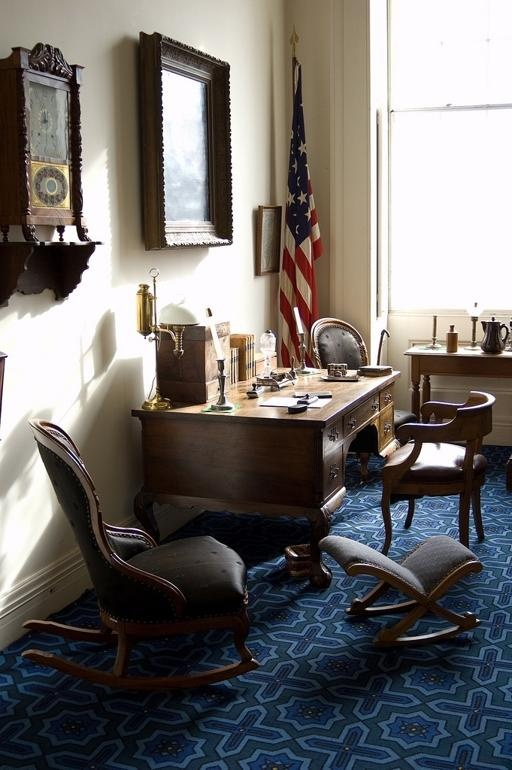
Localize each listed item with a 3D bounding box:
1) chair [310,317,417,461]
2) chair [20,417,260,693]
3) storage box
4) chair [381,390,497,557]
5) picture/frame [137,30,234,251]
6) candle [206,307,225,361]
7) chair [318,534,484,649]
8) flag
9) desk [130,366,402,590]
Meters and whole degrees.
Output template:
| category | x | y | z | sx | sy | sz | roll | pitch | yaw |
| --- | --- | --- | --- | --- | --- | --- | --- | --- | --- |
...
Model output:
| category | x | y | z | sx | sy | sz | roll | pitch | yaw |
| --- | --- | --- | --- | --- | --- | --- | --- | --- | --- |
| chair | 0.796 | -0.009 | 4.446 | 0.690 | 1.207 | 0.780 | -2 | -7 | -30 |
| chair | -0.391 | 0.564 | 2.022 | 0.675 | 0.890 | 0.496 | 0 | 8 | -19 |
| storage box | -0.339 | -0.140 | 3.334 | 0.274 | 0.444 | 0.511 | 2 | 9 | 16 |
| chair | 1.054 | 0.496 | 3.343 | 0.533 | 0.892 | 0.725 | 1 | 8 | 17 |
| picture/frame | -0.455 | -1.398 | 3.343 | 0.098 | 1.081 | 1.024 | 8 | 15 | 23 |
| candle | -0.224 | -0.266 | 3.102 | 0.086 | 0.213 | 0.250 | -1 | -1 | -5 |
| chair | 0.597 | 0.821 | 2.385 | 0.576 | 0.380 | 0.510 | -1 | 0 | 8 |
| flag | 0.389 | -1.642 | 5.084 | 0.398 | 2.423 | 0.543 | -1 | -1 | -5 |
| desk | 0.221 | 0.472 | 3.712 | 1.164 | 0.926 | 1.812 | 2 | 7 | 23 |
